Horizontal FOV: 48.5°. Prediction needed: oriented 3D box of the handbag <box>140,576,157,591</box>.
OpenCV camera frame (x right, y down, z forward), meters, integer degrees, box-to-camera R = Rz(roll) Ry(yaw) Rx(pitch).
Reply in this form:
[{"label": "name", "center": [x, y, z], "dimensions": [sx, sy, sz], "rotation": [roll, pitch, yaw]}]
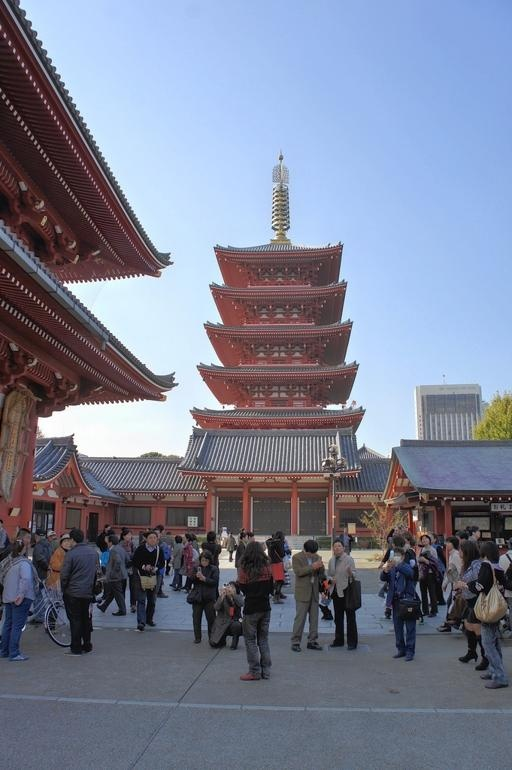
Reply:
[{"label": "handbag", "center": [-2.088, 3.796, 10.883], "dimensions": [0.370, 0.350, 0.122], "rotation": [0, 2, -2]}]
